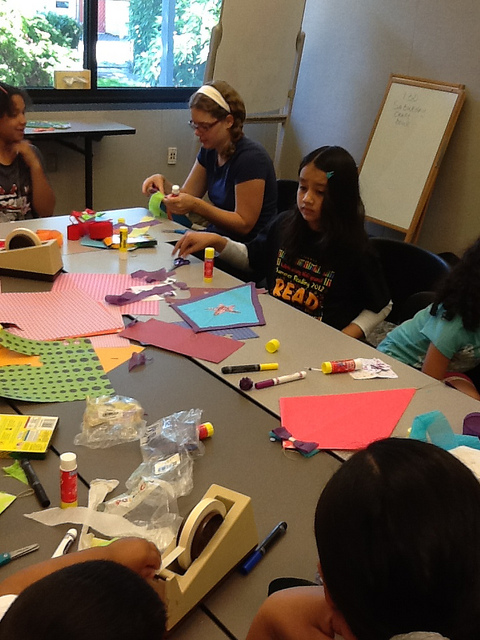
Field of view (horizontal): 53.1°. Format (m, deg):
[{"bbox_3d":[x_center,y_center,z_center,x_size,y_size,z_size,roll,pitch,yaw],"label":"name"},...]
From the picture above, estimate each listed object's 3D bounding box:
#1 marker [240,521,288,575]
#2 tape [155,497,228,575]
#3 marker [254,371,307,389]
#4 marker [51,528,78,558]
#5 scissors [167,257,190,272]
[{"bbox_3d":[0.045,0.362,0.811,0.026,0.021,0.148,5,20,28],"label":"marker"},{"bbox_3d":[-0.068,0.308,0.689,0.026,0.066,0.090,8,25,30],"label":"tape"},{"bbox_3d":[0.106,0.163,1.281,0.135,0.020,0.021,-11,8,-37],"label":"marker"},{"bbox_3d":[-0.272,0.348,0.750,0.011,0.013,0.047,24,18,-2],"label":"marker"},{"bbox_3d":[-0.249,-0.228,1.945,0.043,0.028,0.091,14,42,35],"label":"scissors"}]
